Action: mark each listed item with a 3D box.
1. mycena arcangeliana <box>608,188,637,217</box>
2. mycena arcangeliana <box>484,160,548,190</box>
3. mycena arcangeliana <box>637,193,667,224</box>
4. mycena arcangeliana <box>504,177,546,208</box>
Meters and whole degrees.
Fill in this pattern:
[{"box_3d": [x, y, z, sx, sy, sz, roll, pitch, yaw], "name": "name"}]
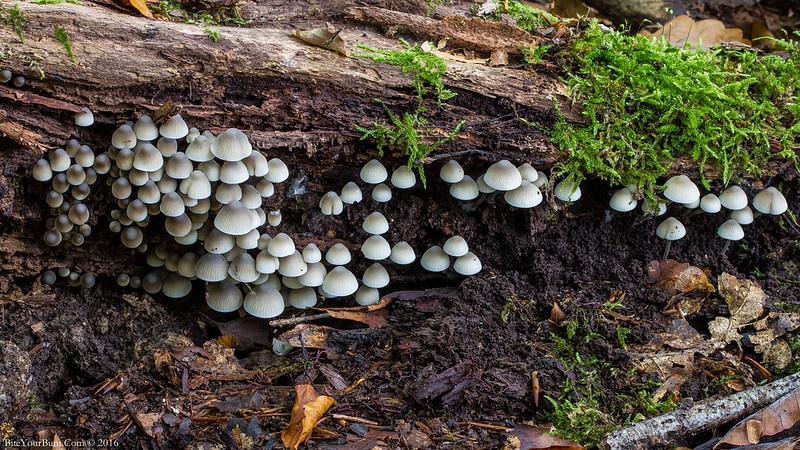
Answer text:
[{"box_3d": [2.968, -0.290, 10.056, 0.350, 0.162, 0.304, 8, 56, 12], "name": "mycena arcangeliana"}, {"box_3d": [1.481, -0.593, 9.967, 0.723, 0.409, 0.360, 5, 47, -19], "name": "mycena arcangeliana"}, {"box_3d": [3.361, -0.234, 10.151, 0.279, 0.303, 0.184, -35, 67, -7], "name": "mycena arcangeliana"}, {"box_3d": [1.641, -0.385, 9.962, 0.409, 0.199, 0.412, 34, 50, 27], "name": "mycena arcangeliana"}]
